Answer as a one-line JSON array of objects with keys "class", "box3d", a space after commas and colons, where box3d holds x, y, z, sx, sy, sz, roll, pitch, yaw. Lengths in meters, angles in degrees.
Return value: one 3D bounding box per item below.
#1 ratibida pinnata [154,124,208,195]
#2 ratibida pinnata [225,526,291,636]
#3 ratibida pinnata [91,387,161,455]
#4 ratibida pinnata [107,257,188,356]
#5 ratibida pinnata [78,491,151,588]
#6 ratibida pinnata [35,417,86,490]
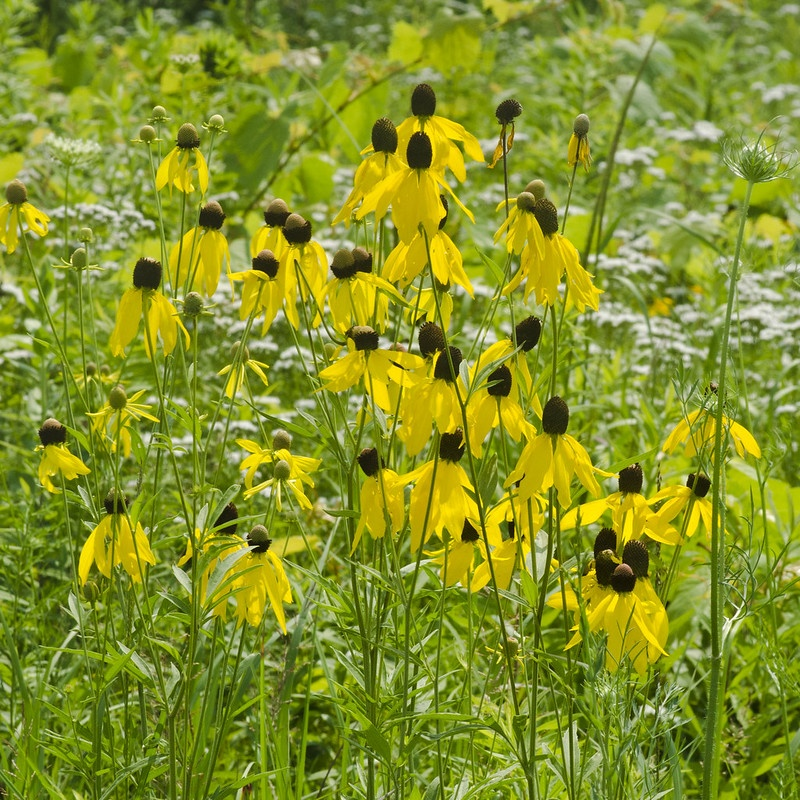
[{"class": "ratibida pinnata", "box3d": [-0.493, -0.566, 3.556, 0.105, 0.181, 0.120, 9, 0, 27]}, {"class": "ratibida pinnata", "box3d": [-0.316, 0.408, 3.495, 0.132, 0.261, 0.140, -5, 13, -13]}, {"class": "ratibida pinnata", "box3d": [-0.644, 0.050, 3.509, 0.149, 0.159, 0.117, 6, 7, 43]}, {"class": "ratibida pinnata", "box3d": [-0.566, -0.202, 3.473, 0.150, 0.267, 0.188, 1, -1, -6]}, {"class": "ratibida pinnata", "box3d": [-0.648, 0.305, 3.454, 0.121, 0.215, 0.141, 3, 2, 16]}, {"class": "ratibida pinnata", "box3d": [-0.799, 0.132, 3.537, 0.049, 0.176, 0.108, -5, 12, -24]}]
